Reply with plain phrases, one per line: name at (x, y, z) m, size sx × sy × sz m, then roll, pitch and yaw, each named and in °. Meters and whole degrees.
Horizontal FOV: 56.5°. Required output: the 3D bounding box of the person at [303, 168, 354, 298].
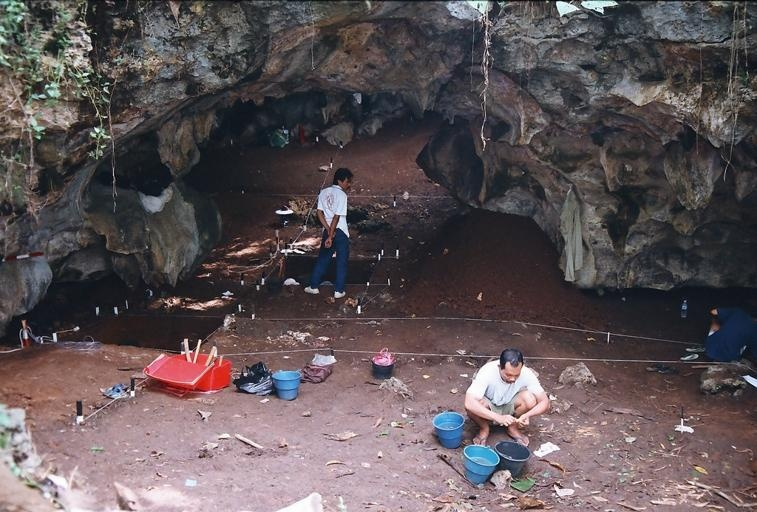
person at (-0.938, -0.460, 13.111) m, size 0.905 × 2.431 × 0.922 m, roll -3°, pitch 19°, yaw -8°

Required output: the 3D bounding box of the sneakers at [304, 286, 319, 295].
sneakers at (-1.255, 0.667, 13.385) m, size 0.271 × 0.101 × 0.111 m, roll 10°, pitch 23°, yaw 27°

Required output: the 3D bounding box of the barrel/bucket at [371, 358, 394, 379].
barrel/bucket at (0.078, 1.669, 10.556) m, size 0.362 × 0.238 × 0.399 m, roll 0°, pitch 17°, yaw 0°

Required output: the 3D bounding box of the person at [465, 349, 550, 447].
person at (1.648, 1.795, 8.995) m, size 1.043 × 1.257 × 0.656 m, roll 2°, pitch 18°, yaw 7°

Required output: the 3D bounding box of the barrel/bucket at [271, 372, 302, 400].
barrel/bucket at (-1.295, 1.808, 9.901) m, size 0.395 × 0.268 × 0.397 m, roll -1°, pitch 2°, yaw 0°

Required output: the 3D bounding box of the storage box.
storage box at (-2.700, 1.670, 10.015) m, size 1.039 × 0.370 × 0.947 m, roll 7°, pitch 9°, yaw 27°

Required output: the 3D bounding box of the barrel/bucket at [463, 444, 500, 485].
barrel/bucket at (1.253, 2.520, 8.554) m, size 0.454 × 0.278 × 0.437 m, roll 7°, pitch 12°, yaw -2°

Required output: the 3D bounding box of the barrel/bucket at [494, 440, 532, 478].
barrel/bucket at (1.642, 2.460, 8.662) m, size 0.449 × 0.303 × 0.426 m, roll -2°, pitch 28°, yaw 1°

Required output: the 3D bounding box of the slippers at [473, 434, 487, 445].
slippers at (1.305, 2.355, 9.000) m, size 0.170 × 0.133 × 0.185 m, roll 3°, pitch 17°, yaw 11°

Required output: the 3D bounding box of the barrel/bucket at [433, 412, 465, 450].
barrel/bucket at (0.913, 2.236, 9.070) m, size 0.398 × 0.370 × 0.370 m, roll -1°, pitch 17°, yaw 0°

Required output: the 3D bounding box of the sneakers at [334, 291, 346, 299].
sneakers at (-0.715, 0.729, 13.153) m, size 0.091 × 0.085 × 0.220 m, roll 5°, pitch 12°, yaw 19°
